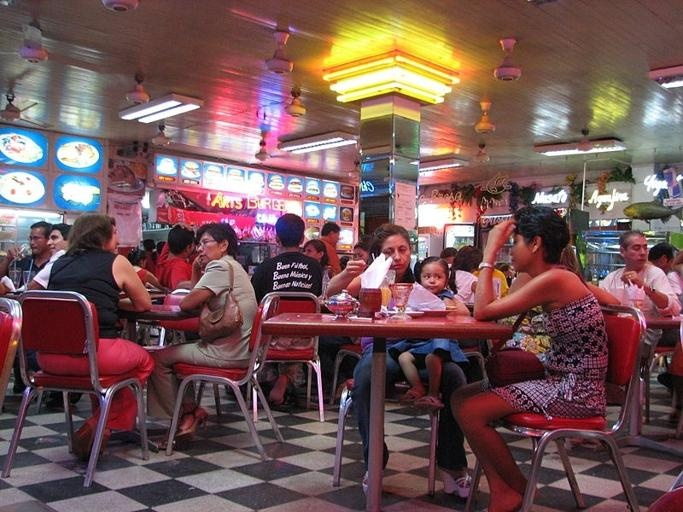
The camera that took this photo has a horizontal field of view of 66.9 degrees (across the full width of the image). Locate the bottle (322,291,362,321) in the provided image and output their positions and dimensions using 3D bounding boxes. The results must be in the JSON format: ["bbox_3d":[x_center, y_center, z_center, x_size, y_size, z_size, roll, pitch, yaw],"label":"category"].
[{"bbox_3d":[-0.001,0.246,2.618,0.169,0.109,0.135,0,-1,14],"label":"bottle"}]

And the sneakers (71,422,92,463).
[{"bbox_3d":[-1.655,1.165,3.312,0.144,0.211,0.152,6,3,-39],"label":"sneakers"}]

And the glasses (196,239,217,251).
[{"bbox_3d":[-1.043,-0.098,3.974,0.106,0.031,0.106,16,-28,-43],"label":"glasses"}]

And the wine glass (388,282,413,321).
[{"bbox_3d":[0.345,0.244,2.706,0.155,0.169,0.137,15,-21,10],"label":"wine glass"}]

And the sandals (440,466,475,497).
[{"bbox_3d":[0.673,1.315,3.010,0.116,0.078,0.199,2,-12,-13],"label":"sandals"}]

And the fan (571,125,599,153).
[{"bbox_3d":[4.315,-2.022,9.181,0.312,0.373,0.912,1,-2,26],"label":"fan"}]

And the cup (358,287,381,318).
[{"bbox_3d":[0.139,0.234,2.591,0.138,0.131,0.137,0,-3,0],"label":"cup"}]

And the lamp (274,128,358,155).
[{"bbox_3d":[-0.398,-2.155,9.413,1.666,0.262,0.615,0,-2,44],"label":"lamp"}]

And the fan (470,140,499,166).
[{"bbox_3d":[2.822,-2.096,10.303,0.535,0.676,0.512,0,-6,5],"label":"fan"}]

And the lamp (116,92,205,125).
[{"bbox_3d":[-2.657,-2.216,7.566,1.363,0.316,0.563,0,-2,39],"label":"lamp"}]

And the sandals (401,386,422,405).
[{"bbox_3d":[0.371,0.742,2.763,0.051,0.049,0.140,-12,-18,29],"label":"sandals"}]

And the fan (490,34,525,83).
[{"bbox_3d":[1.849,-2.227,5.810,0.308,0.411,0.290,-5,19,-1],"label":"fan"}]

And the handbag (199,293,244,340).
[{"bbox_3d":[-0.858,0.413,3.622,0.375,0.345,0.167,-22,-24,24],"label":"handbag"}]

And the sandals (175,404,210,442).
[{"bbox_3d":[-1.077,1.209,3.735,0.126,0.212,0.102,3,-20,34],"label":"sandals"}]

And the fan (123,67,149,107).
[{"bbox_3d":[-2.651,-2.226,6.771,0.270,0.365,0.259,-3,14,-36],"label":"fan"}]

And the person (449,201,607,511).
[{"bbox_3d":[0.967,0.473,2.655,0.771,1.514,0.455,2,-1,10],"label":"person"}]

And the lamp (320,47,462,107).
[{"bbox_3d":[0.748,-2.252,6.525,0.783,0.213,0.790,-5,-7,44],"label":"lamp"}]

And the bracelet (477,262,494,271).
[{"bbox_3d":[0.781,0.053,2.814,0.057,0.037,0.057,16,-12,-18],"label":"bracelet"}]

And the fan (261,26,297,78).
[{"bbox_3d":[-0.690,-2.290,5.780,0.408,0.517,0.386,4,-13,-16],"label":"fan"}]

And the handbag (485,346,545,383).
[{"bbox_3d":[0.939,0.609,2.865,0.294,0.131,0.219,1,-13,-17],"label":"handbag"}]

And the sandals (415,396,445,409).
[{"bbox_3d":[0.451,0.755,2.684,0.109,0.054,0.160,1,-2,29],"label":"sandals"}]

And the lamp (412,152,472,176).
[{"bbox_3d":[2.036,-1.982,10.580,0.503,0.187,1.051,3,-2,-32],"label":"lamp"}]
